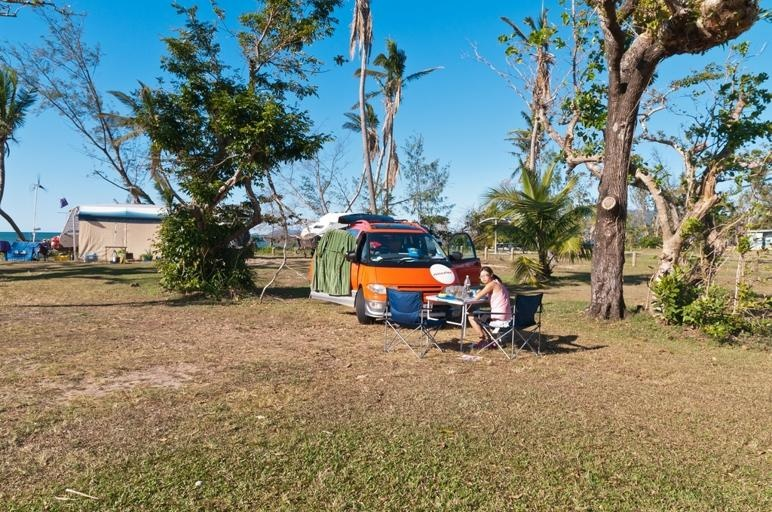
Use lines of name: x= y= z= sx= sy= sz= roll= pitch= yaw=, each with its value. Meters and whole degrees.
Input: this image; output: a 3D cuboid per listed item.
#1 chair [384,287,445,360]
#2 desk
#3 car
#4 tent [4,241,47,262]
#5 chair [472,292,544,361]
chair: x=0.635 y=1.361 z=12.248 sx=1.268 sy=1.769 sz=1.304 roll=-3 pitch=-4 yaw=38
desk: x=1.493 y=1.393 z=12.516 sx=1.188 sy=1.112 sz=1.165 roll=-3 pitch=6 yaw=-40
car: x=-0.037 y=0.133 z=14.641 sx=2.726 sy=1.872 sz=3.847 roll=1 pitch=-2 yaw=-24
tent: x=-18.049 y=-0.186 z=29.533 sx=1.320 sy=0.713 sz=1.314 roll=3 pitch=6 yaw=-8
chair: x=2.590 y=1.375 z=12.171 sx=1.065 sy=1.304 sz=1.088 roll=1 pitch=2 yaw=-25
